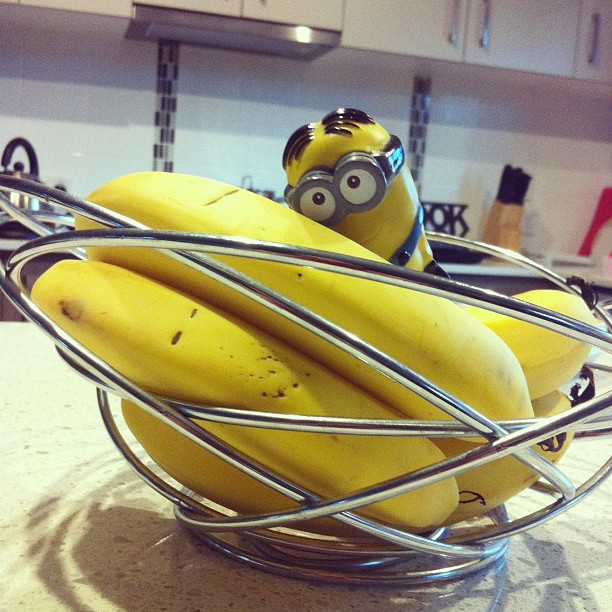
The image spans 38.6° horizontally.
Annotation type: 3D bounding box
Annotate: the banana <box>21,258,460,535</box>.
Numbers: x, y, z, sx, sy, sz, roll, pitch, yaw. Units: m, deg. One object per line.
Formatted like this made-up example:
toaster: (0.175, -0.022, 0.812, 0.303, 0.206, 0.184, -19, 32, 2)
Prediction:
banana: (-0.050, 0.077, 0.645, 0.341, 0.198, 0.076, 7, 17, 7)

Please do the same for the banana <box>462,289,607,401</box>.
banana: (0.197, 0.033, 0.772, 0.125, 0.092, 0.132, 4, 12, -18)

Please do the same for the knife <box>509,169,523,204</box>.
knife: (0.631, -0.361, 2.625, 0.033, 0.109, 0.020, 16, 19, 14)

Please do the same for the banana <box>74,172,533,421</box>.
banana: (0.004, -0.006, 0.636, 0.347, 0.161, 0.157, 2, 16, -10)

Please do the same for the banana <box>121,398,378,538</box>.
banana: (-0.050, 0.109, 0.739, 0.215, 0.100, 0.141, 1, 15, -2)

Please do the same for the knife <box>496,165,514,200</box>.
knife: (0.594, -0.375, 2.658, 0.041, 0.106, 0.031, 3, 26, -9)

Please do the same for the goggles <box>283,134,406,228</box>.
goggles: (0.029, -0.094, 0.660, 0.106, 0.060, 0.063, 3, 23, 6)

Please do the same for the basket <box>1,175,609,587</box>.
basket: (0.008, 0.064, 0.798, 0.514, 0.309, 0.398, -8, 24, -26)

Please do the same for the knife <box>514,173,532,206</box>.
knife: (0.641, -0.349, 2.635, 0.039, 0.112, 0.031, 12, 32, -8)

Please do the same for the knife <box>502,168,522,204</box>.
knife: (0.620, -0.363, 2.630, 0.040, 0.116, 0.038, 23, 27, 26)
